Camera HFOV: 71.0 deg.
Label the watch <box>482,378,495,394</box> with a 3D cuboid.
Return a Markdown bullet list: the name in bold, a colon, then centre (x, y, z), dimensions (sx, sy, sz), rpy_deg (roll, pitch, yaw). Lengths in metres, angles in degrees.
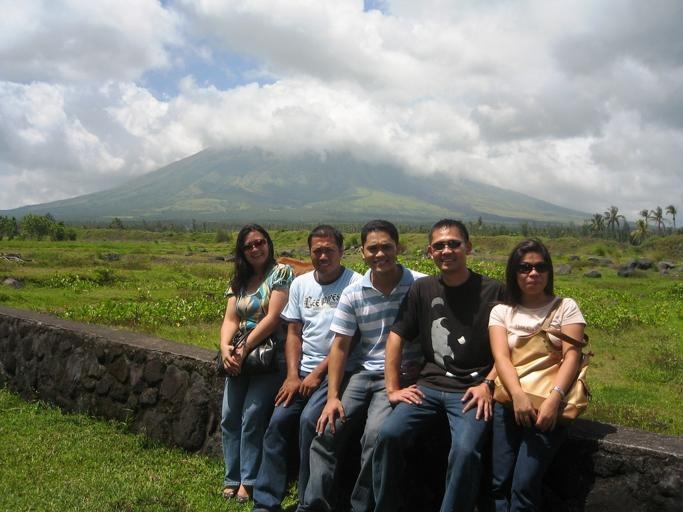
- **watch**: centre (1.219, 1.044, 3.930), dimensions (0.100, 0.070, 0.110), rpy_deg (3, -38, 45)

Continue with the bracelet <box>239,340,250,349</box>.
- **bracelet**: centre (-0.996, 0.900, 4.871), dimensions (0.065, 0.090, 0.033), rpy_deg (0, -45, 42)

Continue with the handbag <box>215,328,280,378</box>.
- **handbag**: centre (-0.937, 0.988, 4.876), dimensions (0.464, 0.491, 0.182), rpy_deg (-3, -27, 25)

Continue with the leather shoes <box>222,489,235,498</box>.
- **leather shoes**: centre (-1.099, 2.286, 4.635), dimensions (0.154, 0.076, 0.061), rpy_deg (2, 3, 16)

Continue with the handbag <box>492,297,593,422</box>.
- **handbag**: centre (1.566, 0.820, 3.805), dimensions (0.826, 0.968, 0.493), rpy_deg (0, -22, 23)

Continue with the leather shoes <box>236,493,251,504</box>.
- **leather shoes**: centre (-0.931, 2.294, 4.546), dimensions (0.134, 0.080, 0.040), rpy_deg (1, 3, -7)
